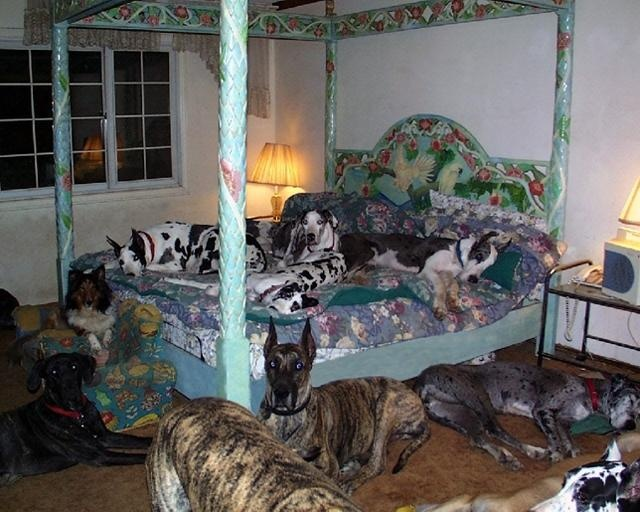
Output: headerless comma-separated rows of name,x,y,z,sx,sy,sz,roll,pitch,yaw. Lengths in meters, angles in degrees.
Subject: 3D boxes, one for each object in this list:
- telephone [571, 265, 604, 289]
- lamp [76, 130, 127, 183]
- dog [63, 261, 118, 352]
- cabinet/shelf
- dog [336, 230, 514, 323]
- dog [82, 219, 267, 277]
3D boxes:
telephone,2.219,0.172,4.257,0.167,0.070,0.216,-12,19,-39
lamp,-2.743,-1.240,6.349,0.548,0.592,0.145,-6,13,-25
dog,-1.793,0.386,4.031,0.327,0.628,0.582,-12,6,-24
cabinet/shelf,2.246,0.526,4.280,0.679,0.706,0.526,17,25,39
dog,1.044,0.136,4.479,0.288,0.672,1.164,14,2,-23
dog,-1.162,-0.044,4.339,0.914,0.303,0.667,-1,4,-34
